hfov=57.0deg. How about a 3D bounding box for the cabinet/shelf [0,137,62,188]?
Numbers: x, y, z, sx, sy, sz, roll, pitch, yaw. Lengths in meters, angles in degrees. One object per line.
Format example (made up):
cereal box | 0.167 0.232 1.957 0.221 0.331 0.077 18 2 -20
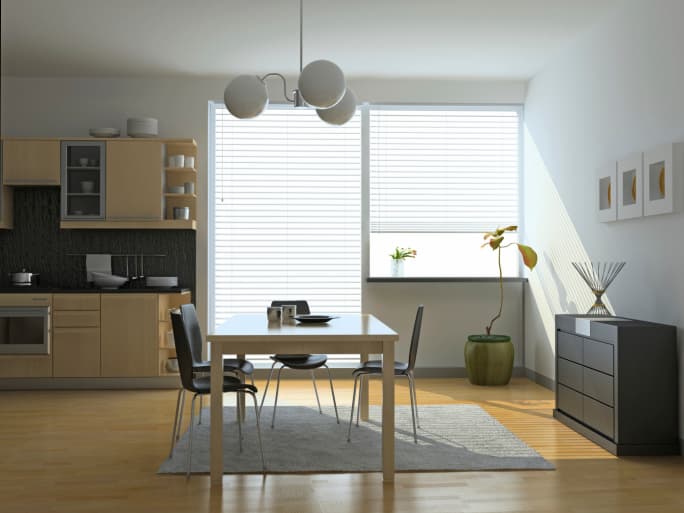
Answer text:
cabinet/shelf | -3.129 -0.942 6.553 0.710 0.646 0.404 0 0 -7

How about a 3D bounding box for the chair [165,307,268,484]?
chair | -0.921 0.956 4.662 0.654 1.034 0.627 11 -8 -28

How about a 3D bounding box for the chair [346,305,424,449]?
chair | 0.353 0.943 5.191 0.576 1.055 0.559 0 -4 8

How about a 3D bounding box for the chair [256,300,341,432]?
chair | -0.400 0.901 5.536 0.487 0.971 0.592 -5 -21 4

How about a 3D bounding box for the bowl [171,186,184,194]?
bowl | -1.726 -0.706 6.632 0.088 0.059 0.093 1 2 0

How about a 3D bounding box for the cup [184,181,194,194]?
cup | -1.605 -0.735 6.716 0.095 0.116 0.105 0 2 0

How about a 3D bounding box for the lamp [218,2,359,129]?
lamp | -0.485 -1.748 5.554 1.029 1.274 0.851 1 0 0

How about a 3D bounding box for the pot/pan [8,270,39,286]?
pot/pan | -3.360 0.225 6.659 0.298 0.169 0.233 -1 5 -11

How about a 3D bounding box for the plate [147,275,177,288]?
plate | -1.893 0.269 6.670 0.324 0.109 0.363 -2 5 -17

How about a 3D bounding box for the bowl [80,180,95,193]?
bowl | -2.609 -0.721 6.502 0.114 0.104 0.114 0 -3 0

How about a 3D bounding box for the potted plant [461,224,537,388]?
potted plant | 1.672 0.495 6.749 0.699 1.669 0.782 2 6 25

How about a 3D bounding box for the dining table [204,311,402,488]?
dining table | -0.332 0.897 4.372 0.787 0.765 1.444 0 -5 -3

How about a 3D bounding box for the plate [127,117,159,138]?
plate | -2.077 -1.336 6.589 0.225 0.151 0.234 1 1 30

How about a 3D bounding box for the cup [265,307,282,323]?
cup | -0.533 0.453 4.891 0.101 0.107 0.105 0 -5 0

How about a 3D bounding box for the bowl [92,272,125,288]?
bowl | -2.402 0.254 6.558 0.215 0.108 0.203 -2 -6 0

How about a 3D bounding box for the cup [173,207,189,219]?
cup | -1.694 -0.463 6.686 0.160 0.132 0.195 -2 5 -15

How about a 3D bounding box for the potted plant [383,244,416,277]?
potted plant | 0.622 0.037 6.912 0.315 0.349 0.294 0 -2 20
